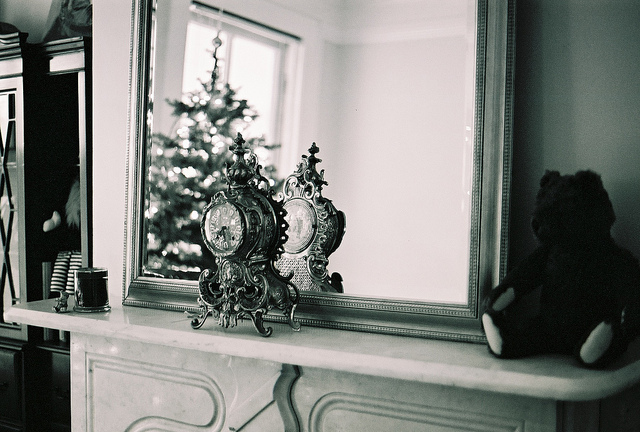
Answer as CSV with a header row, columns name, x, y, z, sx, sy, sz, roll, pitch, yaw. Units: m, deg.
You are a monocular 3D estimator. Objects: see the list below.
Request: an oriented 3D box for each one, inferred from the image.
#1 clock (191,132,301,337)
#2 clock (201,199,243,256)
name,x,y,z,sx,sy,sz,roll,pitch,yaw
clock,-0.244,0.057,2.469,0.367,0.666,0.161,3,7,18
clock,-0.333,0.038,2.487,0.179,0.200,0.043,-4,-2,34
